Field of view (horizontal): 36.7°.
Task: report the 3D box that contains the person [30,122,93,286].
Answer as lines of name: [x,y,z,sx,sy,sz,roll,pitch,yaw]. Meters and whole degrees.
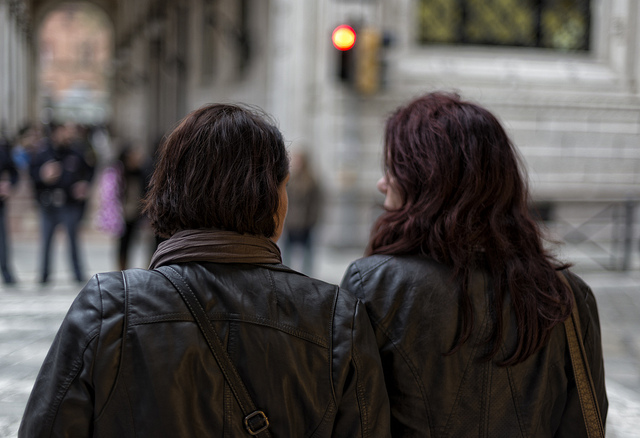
person: [-3.465,-0.157,12.832,0.912,2.734,0.575,-8,37,-28]

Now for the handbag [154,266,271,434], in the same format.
handbag: [-0.915,1.172,8.112,0.178,1.376,0.143,-17,9,28]

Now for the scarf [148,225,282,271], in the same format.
scarf: [-0.895,0.229,8.248,1.122,0.362,0.139,-3,9,-1]

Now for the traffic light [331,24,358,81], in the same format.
traffic light: [0.336,-2.126,12.359,0.327,0.706,0.256,-6,10,-33]
